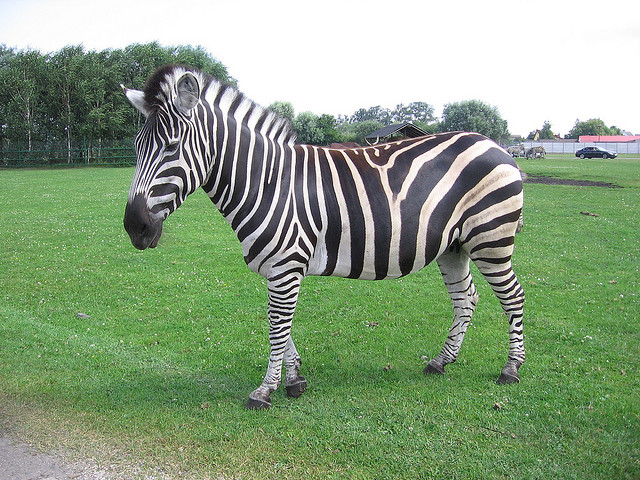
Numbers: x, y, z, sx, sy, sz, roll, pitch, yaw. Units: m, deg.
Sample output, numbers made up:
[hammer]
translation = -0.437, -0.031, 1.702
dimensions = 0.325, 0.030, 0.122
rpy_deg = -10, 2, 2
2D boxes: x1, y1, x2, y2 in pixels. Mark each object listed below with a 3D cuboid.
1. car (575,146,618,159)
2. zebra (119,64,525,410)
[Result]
[car]
translation = 26.802, -8.373, 50.339
dimensions = 1.439, 1.481, 4.920
rpy_deg = 2, 5, -9
[zebra]
translation = -0.070, 0.401, 7.096
dimensions = 4.945, 4.358, 1.661
rpy_deg = -2, 10, -8
